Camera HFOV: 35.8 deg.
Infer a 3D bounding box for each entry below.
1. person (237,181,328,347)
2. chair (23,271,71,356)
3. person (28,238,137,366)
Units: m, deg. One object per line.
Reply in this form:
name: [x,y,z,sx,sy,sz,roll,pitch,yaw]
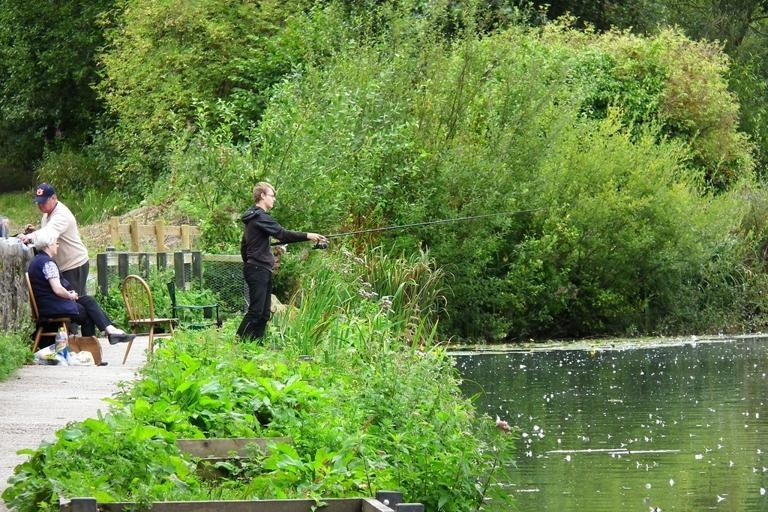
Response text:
person: [-1.941,0.081,18.816,1.341,2.423,0.815,-3,4,-42]
chair: [-5.381,0.969,19.096,0.695,1.428,0.593,3,0,-14]
person: [-4.886,0.627,19.162,1.537,1.837,0.719,3,1,-20]
